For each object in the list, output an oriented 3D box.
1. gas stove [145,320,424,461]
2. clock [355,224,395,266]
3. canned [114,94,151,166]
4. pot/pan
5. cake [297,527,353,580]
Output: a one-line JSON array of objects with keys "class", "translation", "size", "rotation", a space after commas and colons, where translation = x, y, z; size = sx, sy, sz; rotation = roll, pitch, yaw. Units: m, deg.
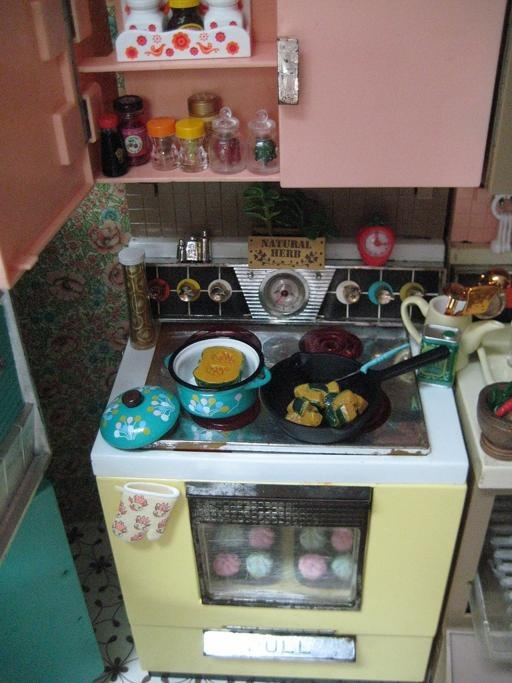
[{"class": "gas stove", "translation": [0.052, 0.096, 1.413], "size": [0.723, 0.030, 0.530], "rotation": [1, 33, 6]}, {"class": "clock", "translation": [0.333, -0.269, 1.516], "size": [0.117, 0.119, 0.068], "rotation": [-2, 32, 6]}, {"class": "canned", "translation": [-0.298, -0.513, 1.312], "size": [0.095, 0.172, 0.066], "rotation": [-11, 42, -17]}, {"class": "pot/pan", "translation": [0.185, 0.094, 1.326], "size": [0.343, 0.055, 0.240], "rotation": [-17, 37, -20]}, {"class": "cake", "translation": [0.171, 0.519, 1.340], "size": [0.163, 0.147, 0.060], "rotation": [4, 17, 6]}]
